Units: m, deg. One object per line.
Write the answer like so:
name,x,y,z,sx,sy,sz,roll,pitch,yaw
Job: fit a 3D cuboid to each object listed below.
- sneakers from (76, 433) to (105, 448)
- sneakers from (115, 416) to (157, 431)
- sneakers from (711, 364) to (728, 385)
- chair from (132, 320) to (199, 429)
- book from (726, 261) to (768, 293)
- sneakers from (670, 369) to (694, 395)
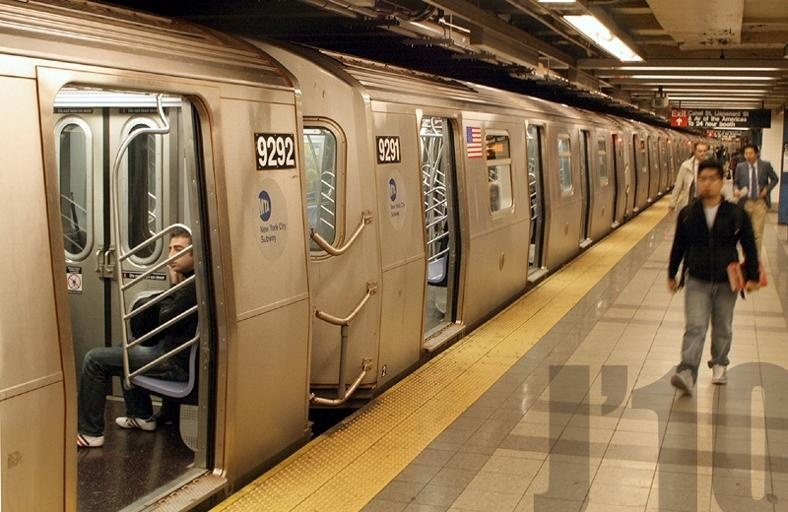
sneakers,-2.414,1.473,4.699,0.176,0.126,0.161,-5,12,-23
sneakers,-2.168,1.437,5.034,0.348,0.128,0.130,9,-2,4
sneakers,3.301,1.206,5.944,0.111,0.128,0.302,-2,-3,24
chair,-1.855,0.980,4.539,0.574,0.703,0.567,15,-10,-13
book,3.285,0.224,5.522,0.400,0.277,0.136,-9,-11,-25
sneakers,2.796,1.250,5.642,0.137,0.174,0.398,-4,-37,31
